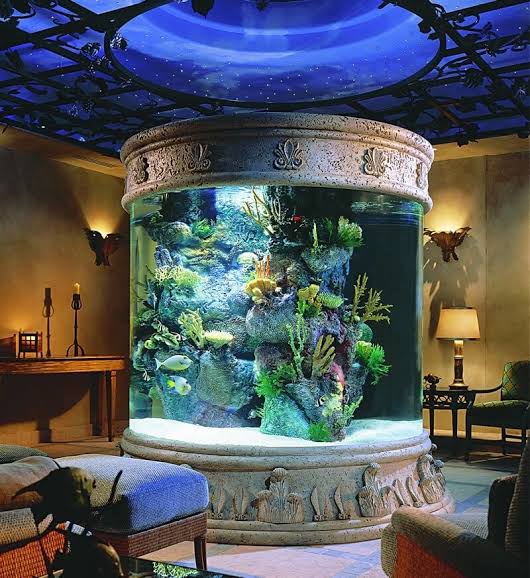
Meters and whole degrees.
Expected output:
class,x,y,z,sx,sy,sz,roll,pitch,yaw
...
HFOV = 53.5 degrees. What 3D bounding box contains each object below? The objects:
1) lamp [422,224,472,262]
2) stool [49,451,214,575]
class,x,y,z,sx,sy,sz,roll,pitch,yaw
lamp,2.600,-0.601,7.501,0.620,0.328,0.579,-13,-14,26
stool,-0.545,0.969,2.122,0.452,0.492,0.538,-2,-2,15
